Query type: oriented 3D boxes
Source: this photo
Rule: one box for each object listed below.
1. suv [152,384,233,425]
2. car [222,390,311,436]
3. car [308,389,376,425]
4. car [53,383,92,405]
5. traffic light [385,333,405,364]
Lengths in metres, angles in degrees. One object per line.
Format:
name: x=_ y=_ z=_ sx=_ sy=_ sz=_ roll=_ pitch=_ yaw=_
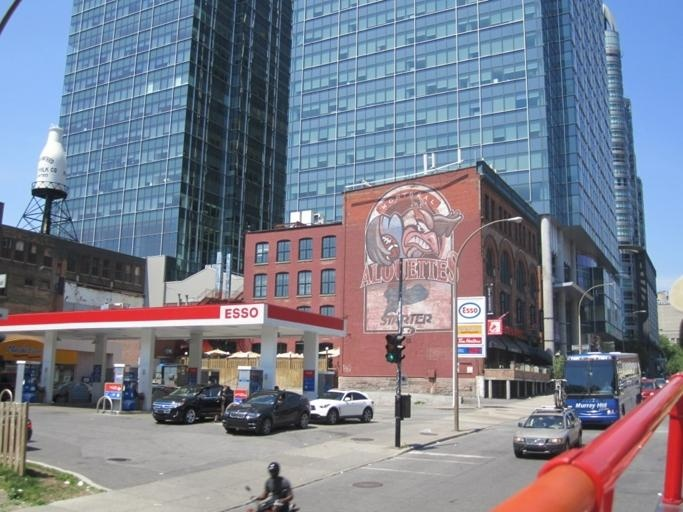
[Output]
suv: x=-7.368 y=7.443 z=33.452 sx=1.842 sy=1.487 sz=3.645 roll=-6 pitch=-14 yaw=29
car: x=-3.475 y=7.251 z=30.913 sx=1.790 sy=1.918 sz=4.740 roll=-8 pitch=-14 yaw=27
car: x=-0.118 y=7.990 z=35.199 sx=1.538 sy=1.747 sz=3.630 roll=-11 pitch=-16 yaw=36
car: x=-18.526 y=9.556 z=45.773 sx=1.519 sy=0.751 sz=2.344 roll=3 pitch=0 yaw=32
traffic light: x=2.180 y=3.765 z=27.212 sx=0.698 sy=1.296 sz=1.670 roll=-1 pitch=-13 yaw=2
